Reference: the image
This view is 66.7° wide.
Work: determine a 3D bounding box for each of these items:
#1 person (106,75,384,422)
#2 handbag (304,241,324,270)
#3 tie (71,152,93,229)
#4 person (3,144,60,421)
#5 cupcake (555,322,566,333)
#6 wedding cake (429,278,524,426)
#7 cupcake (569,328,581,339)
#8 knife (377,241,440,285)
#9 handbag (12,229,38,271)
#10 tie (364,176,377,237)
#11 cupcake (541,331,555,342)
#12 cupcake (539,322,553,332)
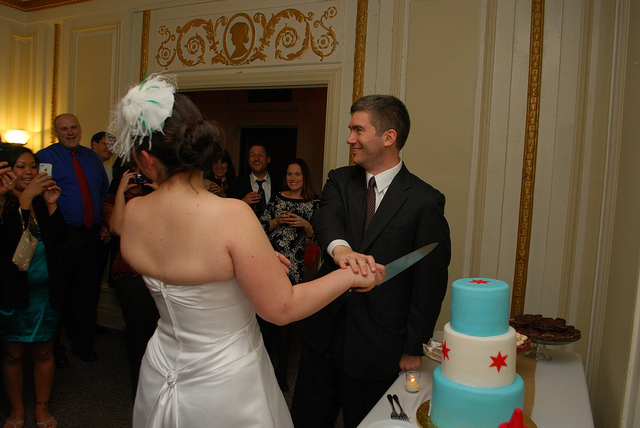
[{"bbox_3d":[-0.526,0.213,2.367,1.097,1.762,0.334,3,7,17],"label":"person"},{"bbox_3d":[-0.091,0.420,4.555,0.188,0.152,0.071,24,-12,37],"label":"handbag"},{"bbox_3d":[-2.427,-0.185,5.021,0.141,1.108,0.052,-2,-25,-32],"label":"tie"},{"bbox_3d":[-2.281,0.579,3.822,0.477,2.206,0.640,-4,8,-30],"label":"person"},{"bbox_3d":[1.597,0.758,3.228,0.052,0.037,0.056,-1,1,-19],"label":"cupcake"},{"bbox_3d":[0.747,0.683,2.478,0.355,0.781,0.506,4,3,19],"label":"wedding cake"},{"bbox_3d":[1.679,0.789,3.194,0.059,0.070,0.074,1,-4,6],"label":"cupcake"},{"bbox_3d":[0.510,0.286,2.825,0.513,0.082,0.022,-28,-3,-12],"label":"knife"},{"bbox_3d":[-2.191,0.271,3.590,0.078,0.278,0.187,-3,-32,13],"label":"handbag"},{"bbox_3d":[0.306,-0.061,3.053,0.049,0.431,0.035,-1,-19,12],"label":"tie"},{"bbox_3d":[1.480,0.803,3.165,0.078,0.054,0.075,4,9,25],"label":"cupcake"},{"bbox_3d":[1.490,0.757,3.208,0.092,0.037,0.057,-1,8,-8],"label":"cupcake"}]
